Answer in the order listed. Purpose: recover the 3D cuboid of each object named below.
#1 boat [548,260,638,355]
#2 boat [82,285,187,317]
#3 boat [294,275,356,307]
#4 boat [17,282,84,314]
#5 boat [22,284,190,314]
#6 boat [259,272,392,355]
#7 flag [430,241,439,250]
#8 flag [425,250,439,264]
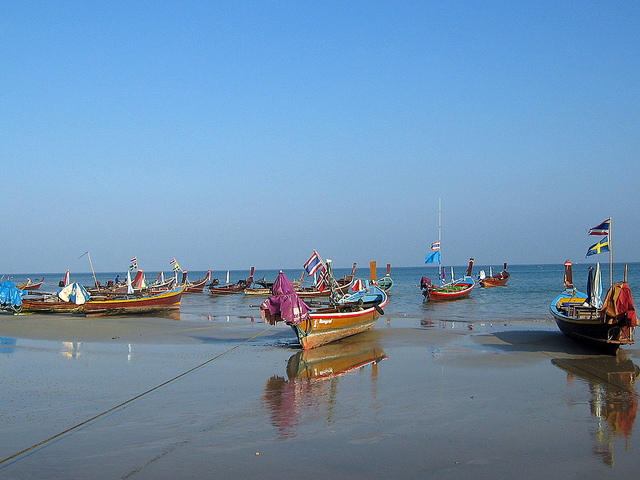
[{"bbox_3d":[10.740,2.628,26.398,1.989,3.528,7.389,-2,-1,11],"label":"boat"},{"bbox_3d":[-11.440,3.958,41.213,0.810,1.507,6.530,-2,-1,42],"label":"boat"},{"bbox_3d":[1.230,4.073,58.461,6.122,1.384,1.404,-12,-7,-44],"label":"boat"},{"bbox_3d":[-16.013,3.713,40.766,5.250,2.188,1.598,0,-5,4],"label":"boat"},{"bbox_3d":[-14.286,4.046,45.351,12.124,2.121,2.522,0,0,-25],"label":"boat"},{"bbox_3d":[0.229,3.106,28.450,2.662,2.263,6.970,0,-2,29],"label":"boat"},{"bbox_3d":[7.055,0.397,40.461,0.633,0.606,0.778,-2,2,3],"label":"flag"},{"bbox_3d":[7.306,1.125,42.742,1.120,0.123,1.114,-13,29,20],"label":"flag"}]
